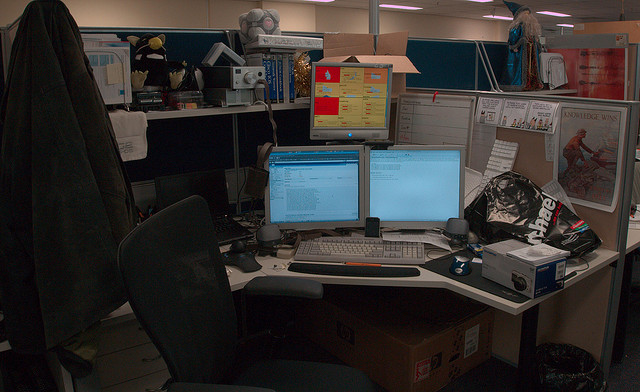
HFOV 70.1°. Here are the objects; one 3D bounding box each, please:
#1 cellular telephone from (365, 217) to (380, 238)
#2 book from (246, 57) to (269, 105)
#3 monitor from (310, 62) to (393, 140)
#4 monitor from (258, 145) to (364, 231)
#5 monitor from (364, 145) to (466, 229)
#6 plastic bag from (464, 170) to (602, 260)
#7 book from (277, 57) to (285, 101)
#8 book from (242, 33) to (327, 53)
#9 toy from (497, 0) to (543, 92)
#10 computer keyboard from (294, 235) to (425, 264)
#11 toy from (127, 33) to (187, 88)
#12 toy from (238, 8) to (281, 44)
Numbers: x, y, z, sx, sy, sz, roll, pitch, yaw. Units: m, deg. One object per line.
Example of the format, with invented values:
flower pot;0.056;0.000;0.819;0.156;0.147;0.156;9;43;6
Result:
cellular telephone;0.307;0.186;2.676;0.127;0.156;0.017;0;1;0
book;-0.388;-0.719;2.844;0.128;0.283;0.217;-4;16;-8
monitor;0.178;-0.600;2.826;0.540;0.452;0.056;1;17;-7
monitor;-0.059;-0.061;2.691;0.556;0.420;0.046;0;6;-1
monitor;0.570;-0.062;2.692;0.542;0.413;0.052;1;3;-2
plastic bag;1.159;0.099;2.593;0.448;0.230;0.611;-28;47;-16
book;-0.252;-0.731;2.870;0.044;0.237;0.030;-4;16;-7
book;-0.240;-0.955;2.856;0.251;0.052;0.214;-4;8;-34
toy;1.828;-1.338;4.079;0.379;0.777;0.344;-1;16;2
computer keyboard;0.217;0.305;2.546;0.708;0.092;0.178;0;15;5
toy;-0.971;-0.762;2.583;0.196;0.286;0.242;-6;16;-17
toy;-0.380;-1.069;2.869;0.266;0.216;0.220;-4;16;-8
